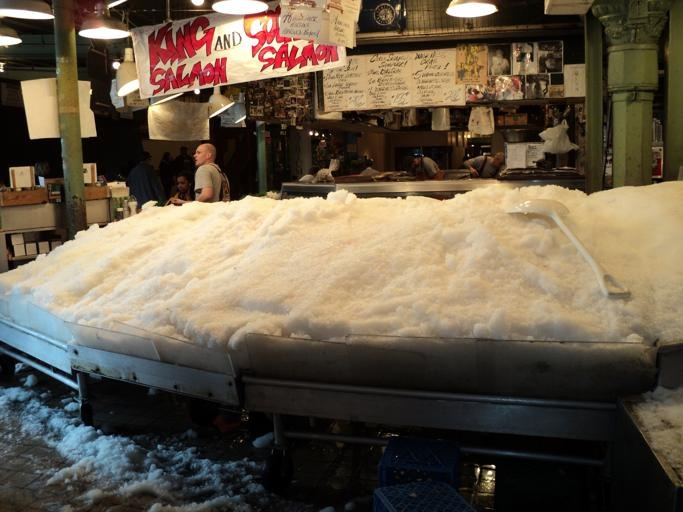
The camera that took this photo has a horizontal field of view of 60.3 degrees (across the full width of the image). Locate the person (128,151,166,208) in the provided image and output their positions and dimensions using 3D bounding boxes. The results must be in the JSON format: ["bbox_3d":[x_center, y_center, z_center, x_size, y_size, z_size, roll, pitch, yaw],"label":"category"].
[{"bbox_3d":[-2.992,-1.157,8.995,0.518,0.803,0.613,-5,13,-20],"label":"person"}]

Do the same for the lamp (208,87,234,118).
[{"bbox_3d":[-1.869,-2.391,9.133,0.399,0.462,0.885,-3,13,-12],"label":"lamp"}]

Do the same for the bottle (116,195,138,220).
[{"bbox_3d":[-2.546,-0.593,7.133,0.288,0.245,0.283,6,14,28],"label":"bottle"}]

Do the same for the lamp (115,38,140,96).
[{"bbox_3d":[-2.596,-2.258,7.049,0.275,0.475,0.274,24,19,16],"label":"lamp"}]

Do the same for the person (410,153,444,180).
[{"bbox_3d":[1.217,-1.240,8.316,0.469,0.286,1.177,2,13,9],"label":"person"}]

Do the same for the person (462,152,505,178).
[{"bbox_3d":[2.104,-1.324,8.548,0.490,0.345,1.222,3,13,14],"label":"person"}]

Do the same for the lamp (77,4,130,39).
[{"bbox_3d":[-2.449,-2.346,6.158,0.417,0.265,0.438,0,16,-4],"label":"lamp"}]

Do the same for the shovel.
[{"bbox_3d":[1.302,-0.085,3.327,0.378,0.139,0.946,-3,33,-14],"label":"shovel"}]
